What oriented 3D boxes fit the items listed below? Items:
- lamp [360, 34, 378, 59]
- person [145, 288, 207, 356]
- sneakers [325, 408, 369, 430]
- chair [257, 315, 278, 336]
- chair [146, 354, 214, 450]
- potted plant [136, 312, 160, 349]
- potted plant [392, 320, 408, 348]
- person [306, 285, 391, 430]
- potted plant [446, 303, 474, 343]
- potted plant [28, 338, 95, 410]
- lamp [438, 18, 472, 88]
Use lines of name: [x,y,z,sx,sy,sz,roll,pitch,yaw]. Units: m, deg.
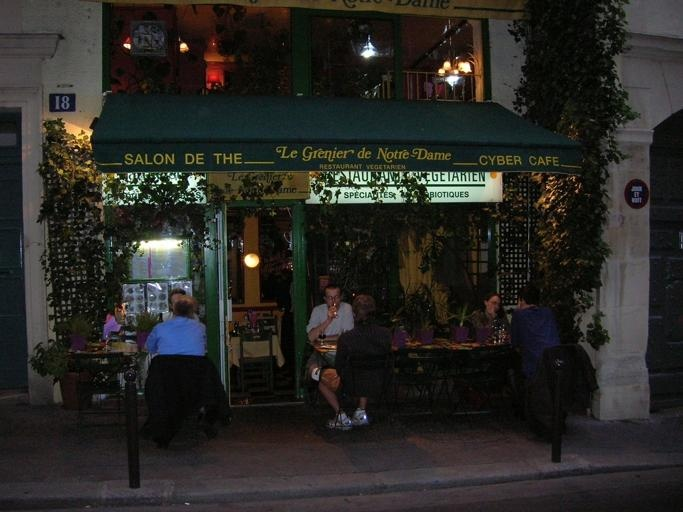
lamp: [0.442,-3.358,14.168,0.304,0.379,0.328,2,-7,0]
person: [-2.092,0.976,11.539,1.010,1.054,0.673,2,6,-6]
sneakers: [0.074,2.262,12.098,0.583,0.286,0.237,2,-6,-8]
chair: [-1.343,1.220,15.450,0.274,0.526,0.302,2,-8,-12]
chair: [-2.072,1.854,11.229,1.102,1.535,0.809,2,0,-5]
potted plant: [-2.808,1.035,12.469,0.451,0.541,0.409,3,-6,-29]
potted plant: [0.823,1.145,12.563,0.236,0.354,0.276,-1,1,10]
person: [0.064,1.450,12.248,0.951,1.994,1.446,-2,11,-14]
potted plant: [1.804,1.002,13.025,0.557,0.656,0.438,1,-3,-10]
potted plant: [-4.048,1.711,12.747,0.889,1.078,0.772,-2,8,29]
lamp: [1.849,-3.509,14.776,0.508,1.098,0.531,-2,5,1]
